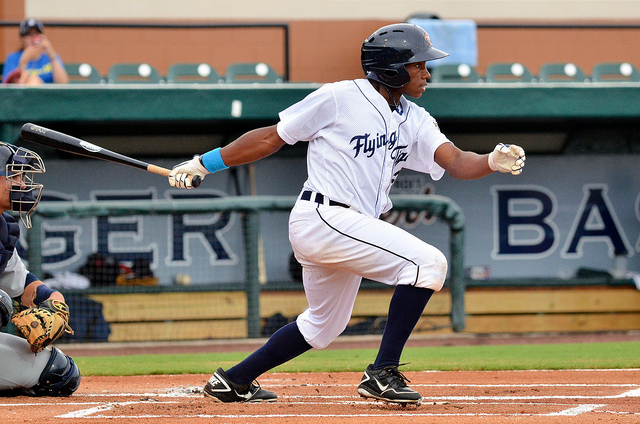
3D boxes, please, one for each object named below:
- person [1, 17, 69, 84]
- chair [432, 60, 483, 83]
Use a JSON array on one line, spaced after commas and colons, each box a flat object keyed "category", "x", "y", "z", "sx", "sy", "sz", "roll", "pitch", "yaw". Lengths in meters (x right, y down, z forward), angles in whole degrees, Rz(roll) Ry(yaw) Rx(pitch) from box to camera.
[{"category": "person", "x": -3.380, "y": -1.887, "z": 13.739, "sx": 0.953, "sy": 0.558, "sz": 0.481, "roll": 2, "pitch": -4, "yaw": 25}, {"category": "chair", "x": 1.677, "y": -1.698, "z": 14.329, "sx": 0.495, "sy": 0.337, "sz": 0.496, "roll": -2, "pitch": 2, "yaw": 5}]
